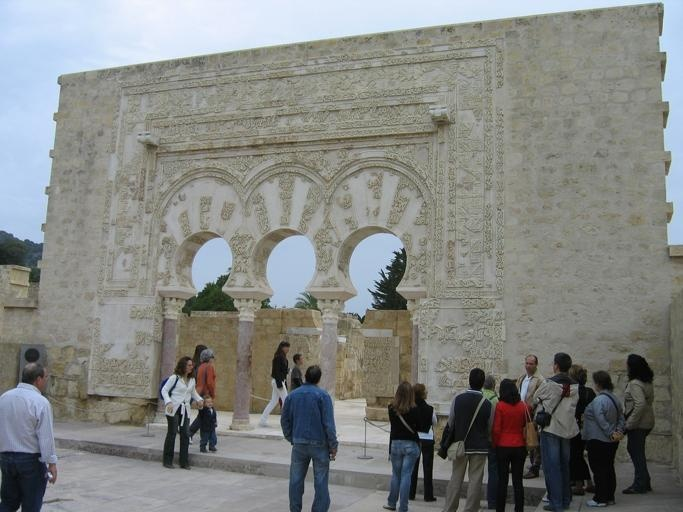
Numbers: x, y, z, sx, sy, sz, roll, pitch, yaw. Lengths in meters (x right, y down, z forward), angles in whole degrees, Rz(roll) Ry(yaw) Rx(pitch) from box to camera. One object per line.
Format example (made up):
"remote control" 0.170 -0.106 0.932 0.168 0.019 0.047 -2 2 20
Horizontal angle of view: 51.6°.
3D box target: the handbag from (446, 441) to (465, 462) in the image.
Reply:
"handbag" 1.533 2.647 9.538 0.106 0.221 0.241 27 -30 -22

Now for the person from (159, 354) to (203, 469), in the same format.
"person" -2.770 2.679 12.105 0.661 1.868 0.608 -1 2 -14

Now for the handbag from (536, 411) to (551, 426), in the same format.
"handbag" 2.831 2.295 9.905 0.155 0.212 0.212 -1 7 -44

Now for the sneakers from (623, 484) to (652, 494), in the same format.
"sneakers" 4.312 3.454 10.412 0.434 0.169 0.143 2 -6 6

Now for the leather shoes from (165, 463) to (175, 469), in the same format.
"leather shoes" -2.938 3.572 11.932 0.179 0.067 0.059 -1 -1 11

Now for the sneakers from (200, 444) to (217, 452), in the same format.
"sneakers" -2.373 3.425 12.496 0.355 0.144 0.110 -7 -9 32

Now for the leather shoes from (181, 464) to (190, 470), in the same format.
"leather shoes" -2.649 3.581 11.925 0.171 0.112 0.056 -2 -6 11
